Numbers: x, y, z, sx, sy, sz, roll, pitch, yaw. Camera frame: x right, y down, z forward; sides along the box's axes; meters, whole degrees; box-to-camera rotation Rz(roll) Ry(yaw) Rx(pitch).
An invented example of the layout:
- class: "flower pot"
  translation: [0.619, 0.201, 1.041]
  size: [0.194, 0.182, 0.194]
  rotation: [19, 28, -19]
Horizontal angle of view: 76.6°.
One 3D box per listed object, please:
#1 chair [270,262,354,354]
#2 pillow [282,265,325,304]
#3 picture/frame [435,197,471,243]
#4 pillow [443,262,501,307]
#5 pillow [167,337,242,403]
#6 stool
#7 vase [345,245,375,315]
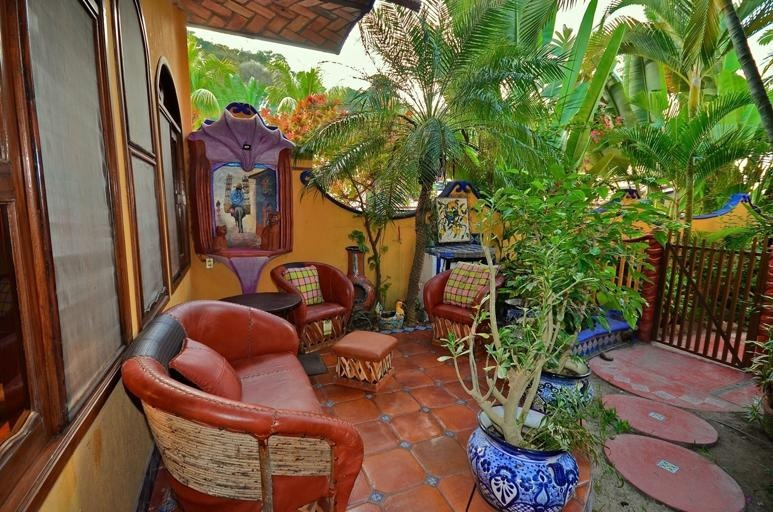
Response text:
- class: "chair"
  translation: [-1.070, 0.715, 7.058]
  size: [1.166, 1.249, 1.142]
  rotation: [-2, 0, -45]
- class: "pillow"
  translation: [-1.167, 0.403, 6.712]
  size: [0.229, 0.426, 0.442]
  rotation: [10, 16, 39]
- class: "picture/frame"
  translation: [1.053, -0.579, 8.033]
  size: [0.725, 0.869, 0.090]
  rotation: [-1, -1, -26]
- class: "pillow"
  translation: [1.129, 0.429, 6.846]
  size: [0.184, 0.595, 0.600]
  rotation: [28, -10, -41]
- class: "pillow"
  translation: [-1.487, 0.985, 4.123]
  size: [0.502, 0.154, 0.510]
  rotation: [38, 16, -44]
- class: "stool"
  translation: [-0.235, 1.150, 5.765]
  size: [0.640, 0.559, 0.646]
  rotation: [6, 18, 21]
- class: "vase"
  translation: [-0.458, 0.380, 7.401]
  size: [0.554, 1.051, 0.540]
  rotation: [1, 8, 10]
